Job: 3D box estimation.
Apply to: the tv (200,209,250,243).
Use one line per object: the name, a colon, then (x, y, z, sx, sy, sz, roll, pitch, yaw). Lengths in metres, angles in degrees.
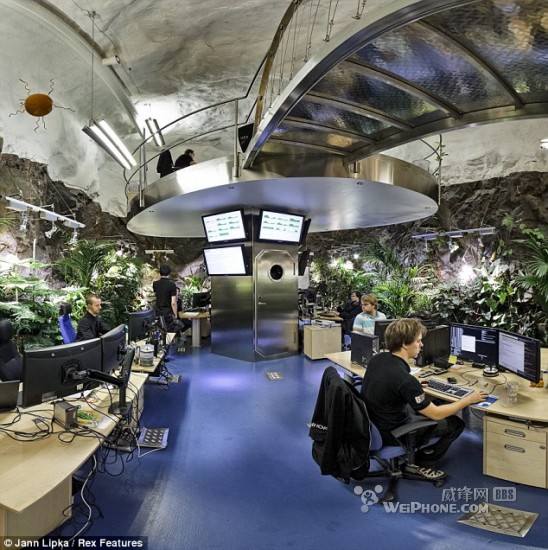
tv: (-0.852, -0.827, 7.281, 0.945, 0.536, 0.271, 3, 7, 34)

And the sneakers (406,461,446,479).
sneakers: (1.300, 1.680, 3.655, 0.406, 0.073, 0.222, -3, -3, 25)

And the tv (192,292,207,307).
tv: (-1.633, 0.505, 9.410, 0.347, 0.311, 0.376, 0, 3, -17)

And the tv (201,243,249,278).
tv: (-0.882, -0.256, 7.608, 0.227, 0.570, 1.103, -5, 7, -42)

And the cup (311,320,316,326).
cup: (0.753, 0.886, 8.171, 0.044, 0.064, 0.083, 4, 4, 44)

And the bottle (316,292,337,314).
bottle: (1.406, 0.762, 12.163, 0.504, 0.729, 0.413, 6, -30, -7)

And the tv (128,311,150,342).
tv: (-1.643, 0.616, 5.189, 0.178, 0.357, 0.446, 6, 2, 12)

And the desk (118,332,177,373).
desk: (-1.470, 0.884, 4.937, 0.558, 0.220, 1.189, 0, 7, 2)

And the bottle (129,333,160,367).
bottle: (-1.437, 0.792, 4.778, 0.365, 0.138, 0.499, 0, 5, -9)

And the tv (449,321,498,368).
tv: (2.057, 0.735, 4.423, 0.041, 0.320, 0.529, 2, 0, -26)

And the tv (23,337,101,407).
tv: (-1.572, 0.743, 3.190, 0.135, 0.375, 0.681, 2, 3, 36)

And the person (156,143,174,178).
person: (-1.858, -1.921, 7.257, 0.262, 0.561, 0.952, -1, 5, -13)

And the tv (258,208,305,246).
tv: (0.144, -0.823, 7.426, 0.349, 0.584, 1.034, 4, 6, 36)

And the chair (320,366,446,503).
chair: (0.838, 1.264, 3.547, 1.112, 0.803, 0.829, -1, 6, -15)

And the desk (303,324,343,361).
desk: (0.768, 1.142, 7.849, 0.912, 0.680, 0.613, 0, -1, -24)
